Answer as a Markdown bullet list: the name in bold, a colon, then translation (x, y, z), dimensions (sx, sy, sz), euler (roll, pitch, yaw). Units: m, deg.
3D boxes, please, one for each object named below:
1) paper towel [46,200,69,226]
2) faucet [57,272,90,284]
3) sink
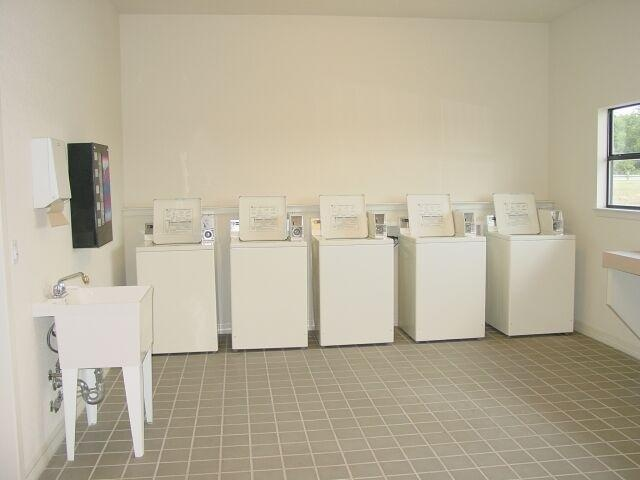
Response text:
- **paper towel**: translation (-2.037, -0.209, 3.551), dimensions (0.120, 0.225, 0.195), euler (1, 7, 8)
- **faucet**: translation (-2.039, 0.306, 3.780), dimensions (0.243, 0.090, 0.057), euler (-19, 7, 2)
- **sink**: translation (-1.548, 0.950, 3.466), dimensions (0.506, 1.042, 1.106), euler (2, 8, -12)
